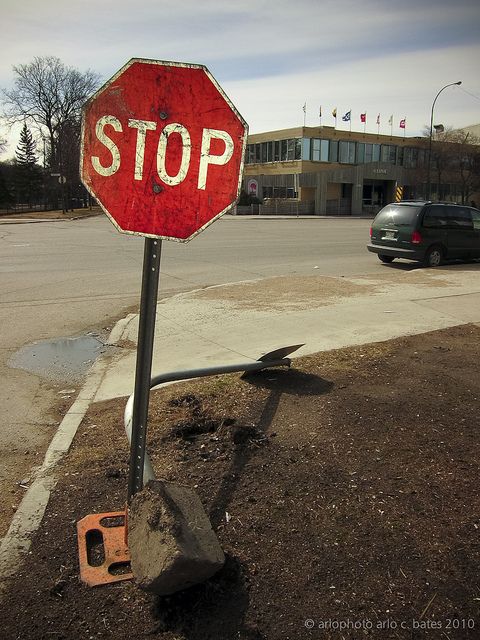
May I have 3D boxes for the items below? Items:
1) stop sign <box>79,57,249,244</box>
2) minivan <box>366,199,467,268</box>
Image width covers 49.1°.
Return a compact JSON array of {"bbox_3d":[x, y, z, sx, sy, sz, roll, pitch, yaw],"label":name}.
[{"bbox_3d":[-0.303,-0.649,2.011,0.654,0.664,0.022,8,13,2],"label":"stop sign"},{"bbox_3d":[5.739,-2.453,14.908,3.879,1.970,1.969,-6,14,-24],"label":"minivan"}]
